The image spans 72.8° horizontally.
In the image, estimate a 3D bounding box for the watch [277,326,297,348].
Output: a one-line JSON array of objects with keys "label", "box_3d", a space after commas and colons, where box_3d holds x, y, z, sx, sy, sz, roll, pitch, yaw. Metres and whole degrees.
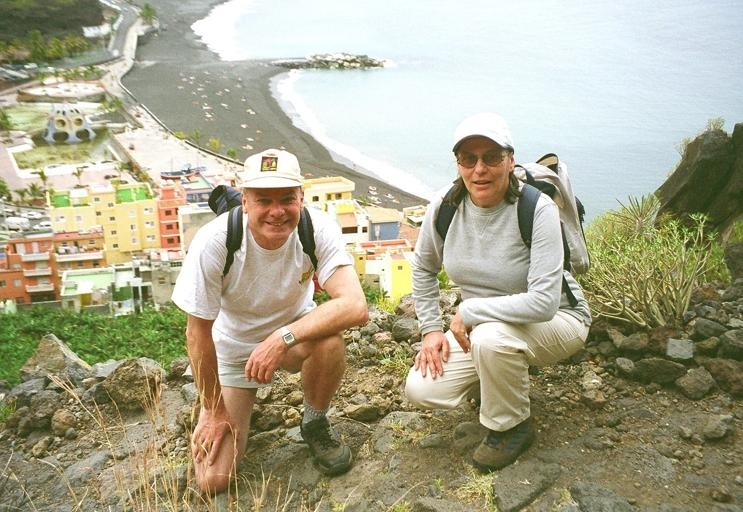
[{"label": "watch", "box_3d": [-0.425, 0.412, 2.589, 0.069, 0.103, 0.108, -29, 8, -18]}]

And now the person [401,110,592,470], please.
[{"label": "person", "box_3d": [0.625, 0.133, 2.725, 0.833, 1.738, 0.810, -19, 25, -40]}]

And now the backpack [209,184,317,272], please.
[{"label": "backpack", "box_3d": [-0.655, -0.206, 2.761, 0.741, 0.548, 0.488, -3, 16, -20]}]

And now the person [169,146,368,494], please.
[{"label": "person", "box_3d": [-0.524, 0.310, 2.780, 1.166, 1.534, 0.974, -2, 14, 1]}]

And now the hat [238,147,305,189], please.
[{"label": "hat", "box_3d": [-0.510, -0.438, 2.537, 0.303, 0.183, 0.233, -5, 18, -11]}]
